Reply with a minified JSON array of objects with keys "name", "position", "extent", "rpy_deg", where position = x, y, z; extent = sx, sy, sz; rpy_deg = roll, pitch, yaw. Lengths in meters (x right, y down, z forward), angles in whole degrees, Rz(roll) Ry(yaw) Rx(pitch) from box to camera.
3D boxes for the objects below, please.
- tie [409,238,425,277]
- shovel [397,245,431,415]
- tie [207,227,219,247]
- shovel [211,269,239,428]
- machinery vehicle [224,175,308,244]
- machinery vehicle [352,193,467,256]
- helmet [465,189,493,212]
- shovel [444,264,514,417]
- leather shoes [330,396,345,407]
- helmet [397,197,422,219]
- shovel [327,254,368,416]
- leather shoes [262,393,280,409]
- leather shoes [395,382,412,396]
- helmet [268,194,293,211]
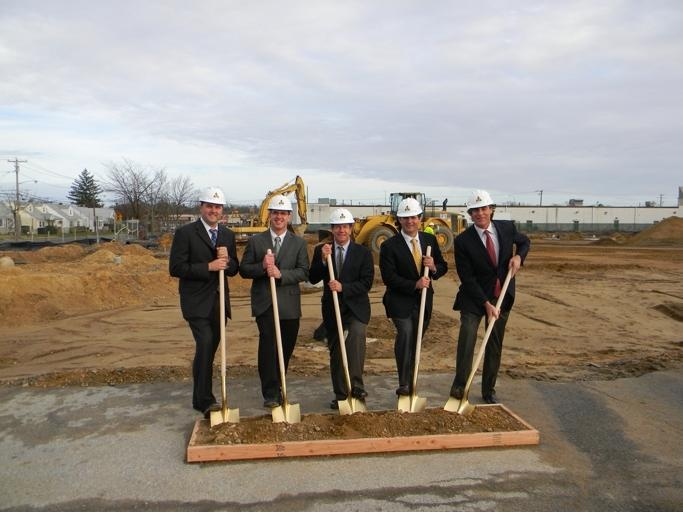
[{"name":"tie","position":[0.914,0.006,5.092],"extent":[0.119,0.465,0.068],"rpy_deg":[-2,-24,-2]},{"name":"shovel","position":[0.802,0.772,4.668],"extent":[0.345,1.754,1.017],"rpy_deg":[0,4,12]},{"name":"tie","position":[-1.449,-0.225,4.854],"extent":[0.151,0.188,0.055],"rpy_deg":[2,-8,-25]},{"name":"shovel","position":[-1.239,0.930,4.399],"extent":[0.283,1.538,0.852],"rpy_deg":[-1,4,-18]},{"name":"machinery vehicle","position":[-3.985,-2.344,22.689],"extent":[4.944,2.960,1.461],"rpy_deg":[-1,13,24]},{"name":"machinery vehicle","position":[3.913,-1.634,21.303],"extent":[6.203,2.784,3.368],"rpy_deg":[0,5,-10]},{"name":"helmet","position":[1.609,-0.646,4.897],"extent":[0.270,0.223,0.276],"rpy_deg":[1,3,18]},{"name":"shovel","position":[1.575,0.925,4.813],"extent":[0.633,1.574,1.341],"rpy_deg":[1,4,22]},{"name":"leather shoes","position":[-0.047,1.657,4.799],"extent":[0.108,0.100,0.257],"rpy_deg":[3,-11,-16]},{"name":"helmet","position":[0.816,-0.589,5.046],"extent":[0.263,0.249,0.309],"rpy_deg":[1,3,22]},{"name":"shovel","position":[0.045,0.808,4.582],"extent":[0.379,1.655,0.730],"rpy_deg":[-1,4,-6]},{"name":"leather shoes","position":[-0.767,1.600,4.646],"extent":[0.127,0.088,0.198],"rpy_deg":[2,-8,-3]},{"name":"leather shoes","position":[0.699,1.493,4.749],"extent":[0.152,0.158,0.424],"rpy_deg":[1,-19,9]},{"name":"helmet","position":[-0.699,-0.603,4.729],"extent":[0.242,0.201,0.443],"rpy_deg":[-1,3,-9]}]
